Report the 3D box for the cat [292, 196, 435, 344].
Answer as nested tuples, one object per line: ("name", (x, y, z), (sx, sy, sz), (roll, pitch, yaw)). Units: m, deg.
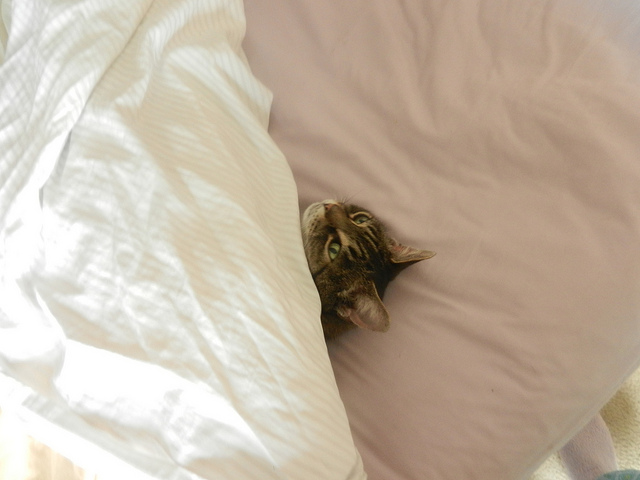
("cat", (0.074, 0.051, 1.553), (0.182, 0.328, 0.252), (3, 10, 43))
